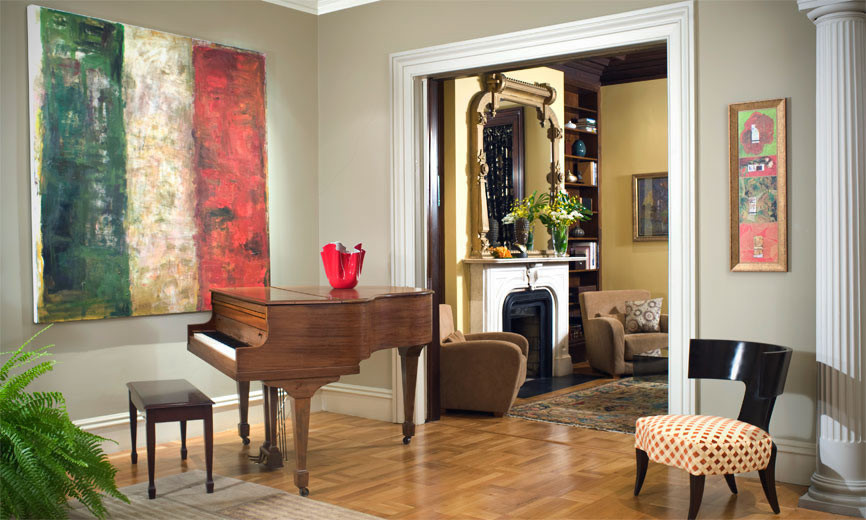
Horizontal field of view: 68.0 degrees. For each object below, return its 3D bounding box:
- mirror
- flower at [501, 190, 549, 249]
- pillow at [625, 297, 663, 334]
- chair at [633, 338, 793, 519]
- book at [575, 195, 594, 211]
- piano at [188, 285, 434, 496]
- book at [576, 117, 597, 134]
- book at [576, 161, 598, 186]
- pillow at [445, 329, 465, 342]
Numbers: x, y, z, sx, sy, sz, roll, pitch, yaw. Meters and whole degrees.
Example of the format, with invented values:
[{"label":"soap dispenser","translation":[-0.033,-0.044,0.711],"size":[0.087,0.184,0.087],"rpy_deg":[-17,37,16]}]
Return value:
[{"label":"mirror","translation":[1.039,-1.246,8.515],"size":[1.662,2.324,0.353],"rpy_deg":[-5,8,-45]},{"label":"flower","translation":[1.215,-0.447,8.639],"size":[0.679,0.626,0.599],"rpy_deg":[-4,-7,13]},{"label":"pillow","translation":[2.918,0.800,8.914],"size":[0.480,0.410,0.165],"rpy_deg":[5,-6,10]},{"label":"chair","translation":[2.090,1.251,5.354],"size":[1.337,1.480,1.325],"rpy_deg":[4,-4,-23]},{"label":"book","translation":[2.285,-0.854,9.757],"size":[0.203,0.228,0.357],"rpy_deg":[-7,8,-34]},{"label":"piano","translation":[-0.982,0.732,5.574],"size":[1.951,1.263,1.788],"rpy_deg":[1,-1,-27]},{"label":"book","translation":[2.380,-2.063,9.929],"size":[0.265,0.157,0.337],"rpy_deg":[1,5,7]},{"label":"book","translation":[2.349,-1.327,9.887],"size":[0.444,0.372,0.238],"rpy_deg":[2,3,26]},{"label":"pillow","translation":[0.249,0.853,7.168],"size":[0.137,0.038,0.131],"rpy_deg":[-4,16,-44]}]
